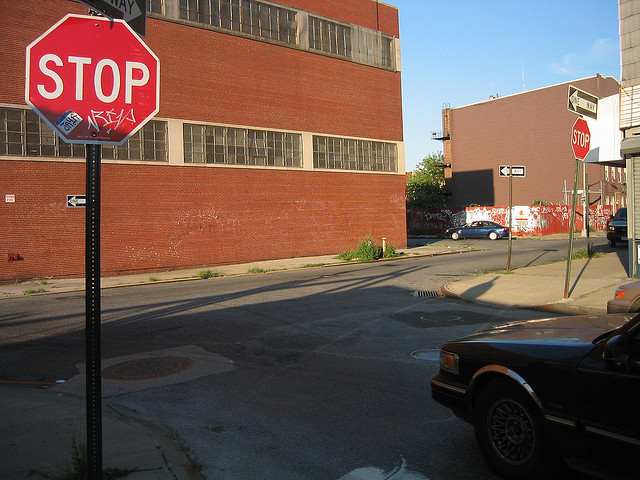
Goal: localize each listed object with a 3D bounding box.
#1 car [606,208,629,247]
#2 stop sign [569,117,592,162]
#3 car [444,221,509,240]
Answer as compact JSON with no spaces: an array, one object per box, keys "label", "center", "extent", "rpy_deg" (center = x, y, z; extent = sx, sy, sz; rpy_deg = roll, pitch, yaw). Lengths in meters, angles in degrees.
[{"label":"car","center":[15.085,-0.594,26.178],"extent":[0.846,2.015,2.935],"rpy_deg":[0,4,29]},{"label":"stop sign","center":[5.679,-2.222,11.280],"extent":[0.325,0.978,1.328],"rpy_deg":[0,4,31]},{"label":"car","center":[12.760,-0.725,41.539],"extent":[4.104,1.126,1.782],"rpy_deg":[2,1,29]}]
